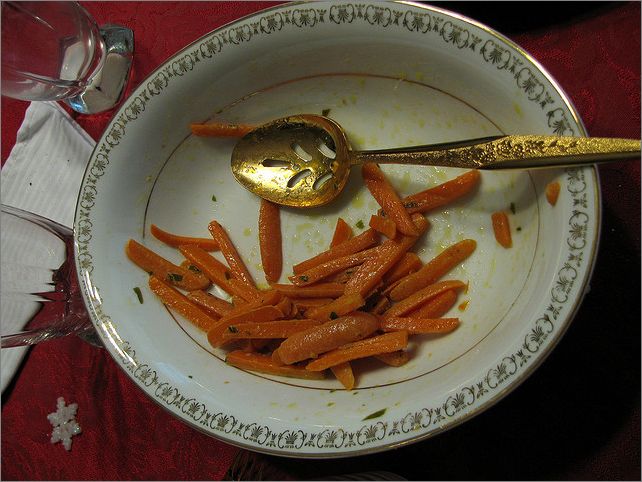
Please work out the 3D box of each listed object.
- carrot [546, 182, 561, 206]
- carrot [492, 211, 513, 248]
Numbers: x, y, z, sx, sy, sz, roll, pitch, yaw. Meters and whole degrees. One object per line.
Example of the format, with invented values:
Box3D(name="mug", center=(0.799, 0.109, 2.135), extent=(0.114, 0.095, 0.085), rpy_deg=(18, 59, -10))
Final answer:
Box3D(name="carrot", center=(0.865, -0.181, 2.409), extent=(0.014, 0.062, 0.071), rpy_deg=(1, 91, -11))
Box3D(name="carrot", center=(0.735, -0.034, 2.631), extent=(0.073, 0.036, 0.168), rpy_deg=(5, 45, -11))
